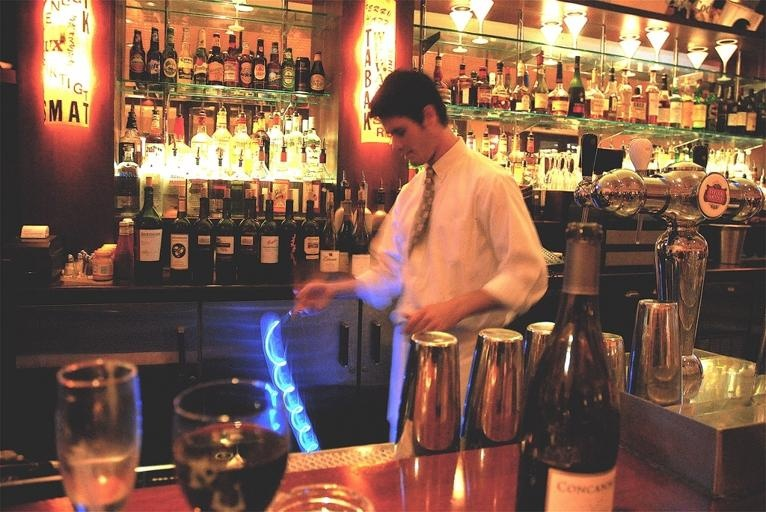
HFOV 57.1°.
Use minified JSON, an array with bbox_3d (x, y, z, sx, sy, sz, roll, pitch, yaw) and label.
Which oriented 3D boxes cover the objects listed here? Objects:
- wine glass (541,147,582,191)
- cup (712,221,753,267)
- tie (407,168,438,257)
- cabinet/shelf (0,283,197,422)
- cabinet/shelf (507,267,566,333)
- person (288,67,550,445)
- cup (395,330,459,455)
[{"bbox_3d":[1.205,-0.582,4.829,0.307,0.290,0.304,0,4,10],"label":"wine glass"},{"bbox_3d":[2.348,-0.063,4.794,0.270,0.286,0.247,-1,6,0],"label":"cup"},{"bbox_3d":[0.183,-0.198,3.146,0.074,0.494,0.053,5,-22,21],"label":"tie"},{"bbox_3d":[-1.281,0.402,3.054,0.727,0.649,0.247,0,1,-7],"label":"cabinet/shelf"},{"bbox_3d":[0.994,0.263,4.316,0.452,0.471,0.442,2,-6,6],"label":"cabinet/shelf"},{"bbox_3d":[0.232,0.262,3.272,0.701,2.069,1.004,-13,18,-40],"label":"person"},{"bbox_3d":[0.116,0.372,1.850,0.165,0.327,0.084,-2,5,-3],"label":"cup"}]
